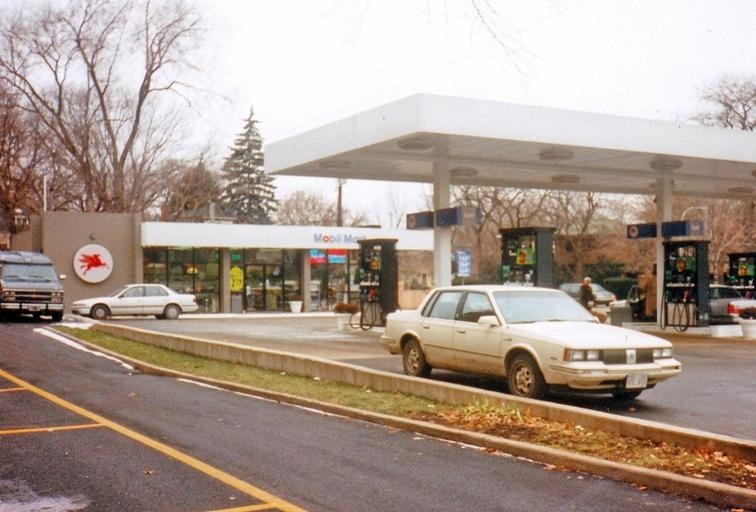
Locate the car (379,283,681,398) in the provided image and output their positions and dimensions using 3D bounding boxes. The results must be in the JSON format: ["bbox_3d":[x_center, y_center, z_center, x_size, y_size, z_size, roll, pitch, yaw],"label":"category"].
[{"bbox_3d":[2.901,1.710,16.592,5.529,2.080,1.921,4,6,42],"label":"car"}]
